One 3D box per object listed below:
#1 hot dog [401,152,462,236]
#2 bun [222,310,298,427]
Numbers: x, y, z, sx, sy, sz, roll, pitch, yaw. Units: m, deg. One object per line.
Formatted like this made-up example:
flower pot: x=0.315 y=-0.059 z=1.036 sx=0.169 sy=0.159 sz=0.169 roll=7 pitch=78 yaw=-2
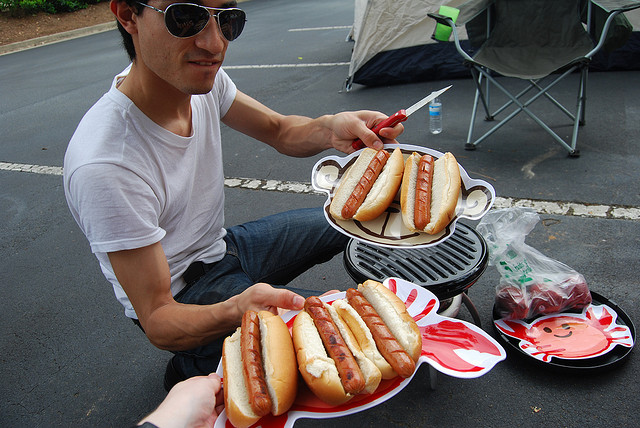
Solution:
hot dog: x=0.747 y=-0.130 z=3.176 sx=0.414 sy=0.250 sz=0.780 roll=3 pitch=48 yaw=14
bun: x=-0.309 y=0.821 z=2.479 sx=0.339 sy=0.152 sz=0.566 roll=-29 pitch=44 yaw=14
